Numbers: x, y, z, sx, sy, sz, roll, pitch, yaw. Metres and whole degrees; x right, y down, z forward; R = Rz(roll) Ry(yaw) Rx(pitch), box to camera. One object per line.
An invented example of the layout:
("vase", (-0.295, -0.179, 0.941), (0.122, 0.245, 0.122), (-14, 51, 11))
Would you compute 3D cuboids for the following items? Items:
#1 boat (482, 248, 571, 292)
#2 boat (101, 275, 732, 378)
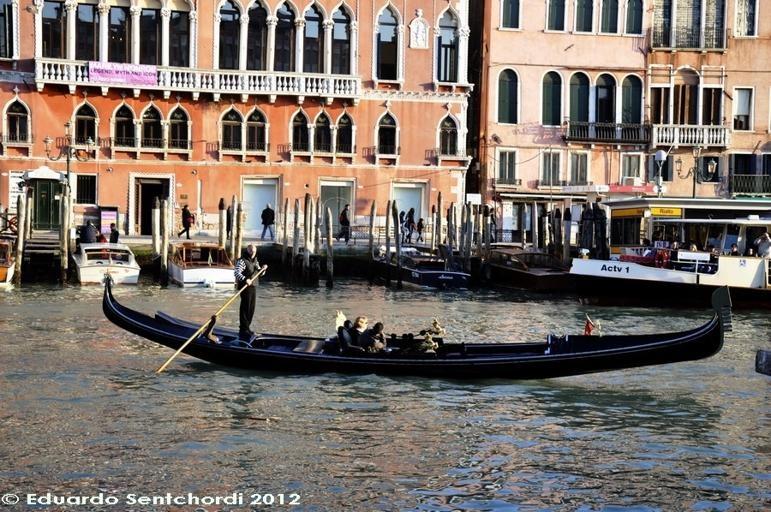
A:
("boat", (5.435, 0.581, 55.282), (1.390, 0.877, 3.988), (-2, 6, -25))
("boat", (1.086, 1.876, 38.612), (16.400, 2.990, 1.196), (3, 14, 6))
